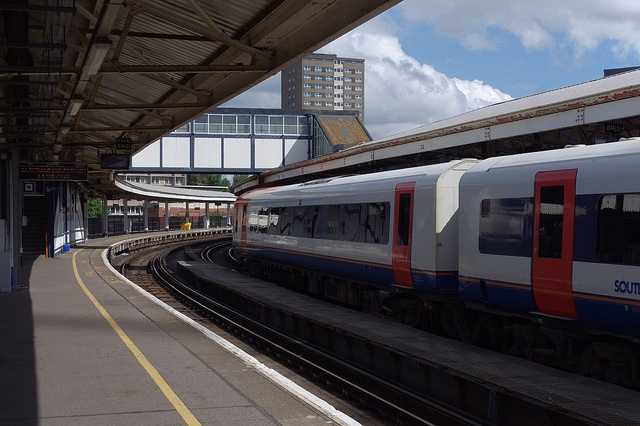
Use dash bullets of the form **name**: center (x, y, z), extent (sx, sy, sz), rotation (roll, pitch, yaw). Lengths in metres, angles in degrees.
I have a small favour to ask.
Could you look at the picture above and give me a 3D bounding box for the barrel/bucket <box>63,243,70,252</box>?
- **barrel/bucket**: center (-17.302, 2.401, 36.742), extent (0.426, 0.531, 0.452), rotation (-1, -7, 0)
